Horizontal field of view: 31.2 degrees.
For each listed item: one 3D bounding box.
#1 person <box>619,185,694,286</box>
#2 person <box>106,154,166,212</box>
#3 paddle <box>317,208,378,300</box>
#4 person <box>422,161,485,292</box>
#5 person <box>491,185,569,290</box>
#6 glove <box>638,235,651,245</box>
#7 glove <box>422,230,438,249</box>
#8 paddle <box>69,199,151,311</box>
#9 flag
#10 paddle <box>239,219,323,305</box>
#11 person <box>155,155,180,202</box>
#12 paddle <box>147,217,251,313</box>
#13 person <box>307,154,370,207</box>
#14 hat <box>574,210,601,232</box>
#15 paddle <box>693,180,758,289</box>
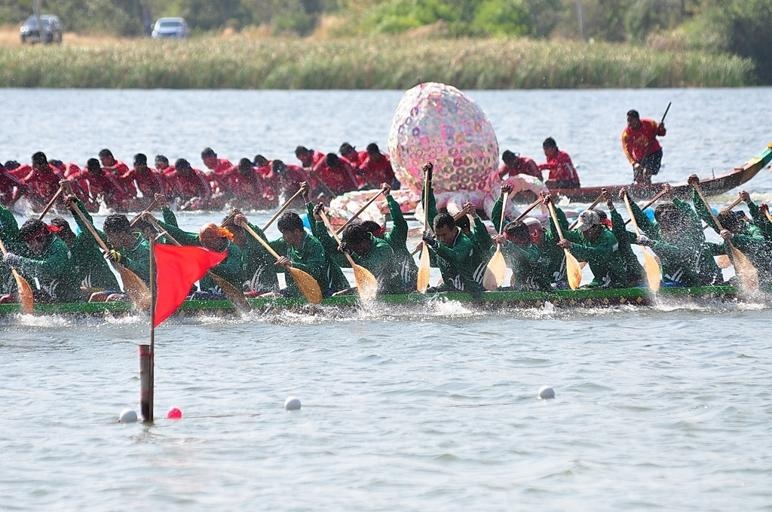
[{"bbox_3d":[3.899,-0.247,19.806,0.259,1.951,0.221,-19,-29,-4],"label":"person"},{"bbox_3d":[-4.852,-1.661,26.111,0.590,1.392,0.890,-38,-23,-17],"label":"person"},{"bbox_3d":[-0.477,-0.046,18.912,0.343,1.222,0.903,-10,12,-39],"label":"paddle"},{"bbox_3d":[0.862,-0.127,18.999,0.863,2.469,0.708,9,45,11],"label":"person"},{"bbox_3d":[2.047,-0.199,19.117,1.070,1.227,0.367,4,-13,-19],"label":"person"},{"bbox_3d":[3.576,-0.222,18.951,0.146,0.138,0.300,1,9,20],"label":"glove"},{"bbox_3d":[0.561,-0.214,18.741,0.164,0.234,0.082,-55,0,-38],"label":"glove"},{"bbox_3d":[-3.709,-0.003,18.434,1.043,1.519,0.476,4,11,35],"label":"paddle"},{"bbox_3d":[-2.357,0.145,16.099,0.178,1.349,1.058,25,39,17],"label":"flag"},{"bbox_3d":[-1.461,0.112,18.872,1.461,0.292,0.074,38,11,15],"label":"paddle"},{"bbox_3d":[-4.332,-1.491,26.440,0.519,0.815,0.244,-13,-14,-40],"label":"person"},{"bbox_3d":[-2.391,0.159,17.698,0.227,0.274,1.828,-1,39,-50],"label":"paddle"},{"bbox_3d":[-1.035,-1.460,26.026,0.883,0.880,0.300,17,26,30],"label":"person"},{"bbox_3d":[2.782,-0.489,18.923,0.244,0.169,0.339,15,33,42],"label":"hat"},{"bbox_3d":[4.763,-0.316,19.187,0.427,1.543,0.920,-9,11,-34],"label":"paddle"}]
